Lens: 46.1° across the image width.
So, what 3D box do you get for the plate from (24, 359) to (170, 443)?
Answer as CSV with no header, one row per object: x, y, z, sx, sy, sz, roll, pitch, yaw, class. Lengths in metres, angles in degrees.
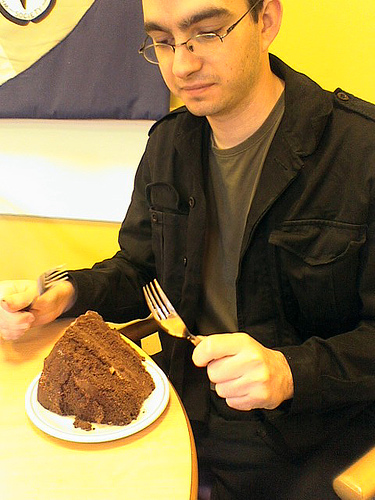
-0.144,0.254,0.738,0.244,0.050,0.211,-1,21,-22,plate

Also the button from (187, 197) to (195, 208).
0.004,-0.137,1.252,0.009,0.024,0.026,0,-10,-25,button

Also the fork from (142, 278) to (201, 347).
-0.039,0.157,1.118,0.056,0.044,0.322,-13,40,-26,fork

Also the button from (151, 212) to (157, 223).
-0.105,-0.100,1.346,0.005,0.041,0.030,-11,12,-34,button

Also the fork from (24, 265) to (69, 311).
-0.315,0.072,1.005,0.027,0.030,0.219,-33,9,24,fork

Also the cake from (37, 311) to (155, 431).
-0.170,0.213,0.823,0.167,0.077,0.239,8,16,-19,cake

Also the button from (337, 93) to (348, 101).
0.385,-0.381,1.095,0.026,0.017,0.047,11,20,9,button
